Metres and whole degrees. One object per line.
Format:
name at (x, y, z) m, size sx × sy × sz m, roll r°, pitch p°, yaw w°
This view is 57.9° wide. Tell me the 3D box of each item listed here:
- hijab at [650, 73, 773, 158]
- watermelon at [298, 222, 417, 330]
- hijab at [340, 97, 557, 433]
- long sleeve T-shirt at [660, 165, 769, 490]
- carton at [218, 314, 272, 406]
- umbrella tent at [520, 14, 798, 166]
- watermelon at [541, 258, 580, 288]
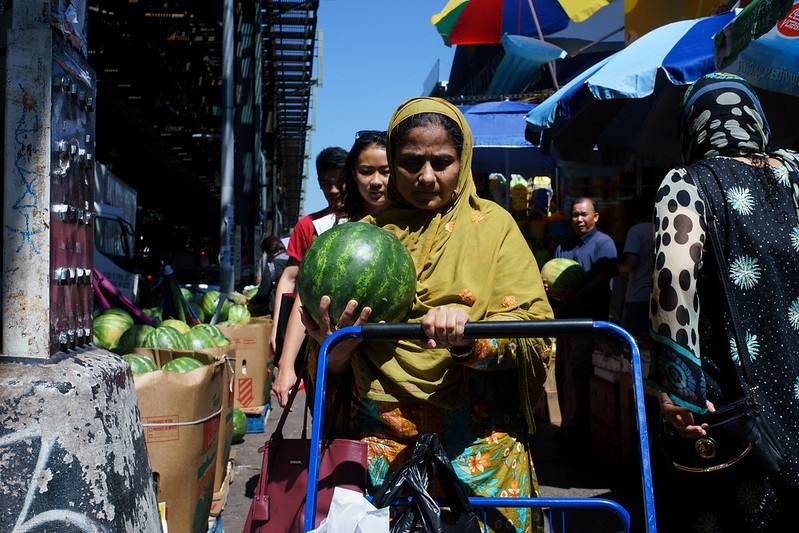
hijab at (1.796, -0.797, 4.049) m, size 0.384 × 0.560 × 0.555 m, roll 1°, pitch 9°, yaw 9°
watermelon at (-0.202, 0.034, 3.412) m, size 0.449 × 0.517 × 0.465 m, roll 0°, pitch 3°, yaw 8°
hijab at (0.110, 0.068, 3.529) m, size 1.076 × 1.745 × 1.006 m, roll 3°, pitch 0°, yaw 25°
long sleeve T-shirt at (1.554, 0.290, 3.617) m, size 0.698 × 1.341 × 0.450 m, roll -2°, pitch -7°, yaw 17°
carton at (-1.568, 0.944, 7.354) m, size 0.587 × 0.920 × 1.153 m, roll 0°, pitch 3°, yaw 1°
umbrella tent at (2.174, -1.495, 6.405) m, size 1.593 × 0.541 × 1.629 m, roll 7°, pitch -16°, yaw -29°
watermelon at (1.477, 0.065, 6.704) m, size 0.373 × 0.330 × 0.308 m, roll 2°, pitch -14°, yaw 5°
